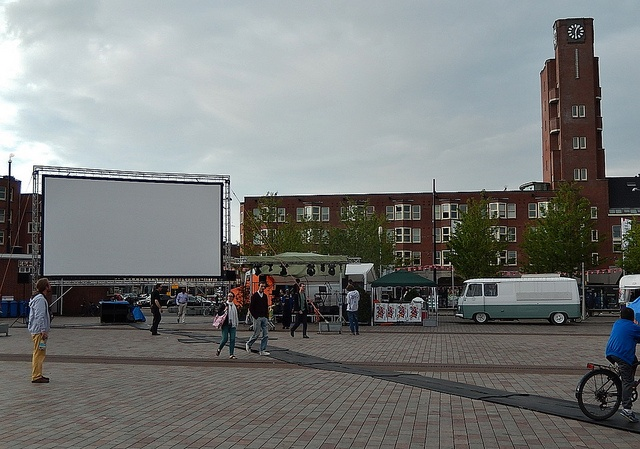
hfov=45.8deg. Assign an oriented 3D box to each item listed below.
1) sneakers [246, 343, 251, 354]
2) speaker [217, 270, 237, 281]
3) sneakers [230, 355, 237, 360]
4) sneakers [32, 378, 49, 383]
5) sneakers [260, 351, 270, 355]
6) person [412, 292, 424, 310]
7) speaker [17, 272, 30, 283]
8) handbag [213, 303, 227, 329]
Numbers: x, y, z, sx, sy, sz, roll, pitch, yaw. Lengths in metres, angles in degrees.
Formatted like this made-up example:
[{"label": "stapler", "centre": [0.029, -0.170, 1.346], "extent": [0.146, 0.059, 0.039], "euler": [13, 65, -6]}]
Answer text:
[{"label": "sneakers", "centre": [-2.394, 4.086, 25.170], "extent": [0.170, 0.382, 0.137], "euler": [-1, 20, 8]}, {"label": "speaker", "centre": [-4.913, 2.883, 40.867], "extent": [1.054, 0.720, 0.571], "euler": [-3, -12, 24]}, {"label": "sneakers", "centre": [-2.767, 4.129, 23.851], "extent": [0.254, 0.104, 0.091], "euler": [-5, -4, 42]}, {"label": "sneakers", "centre": [-7.135, 3.909, 19.293], "extent": [0.354, 0.141, 0.149], "euler": [0, -3, -5]}, {"label": "sneakers", "centre": [-1.765, 4.103, 24.385], "extent": [0.333, 0.137, 0.110], "euler": [0, 3, -7]}, {"label": "person", "centre": [5.187, 3.859, 38.813], "extent": [0.838, 0.921, 1.062], "euler": [-1, -7, -5]}, {"label": "speaker", "centre": [-14.532, 2.554, 37.083], "extent": [0.549, 0.479, 1.393], "euler": [2, -6, -22]}, {"label": "handbag", "centre": [-3.244, 2.904, 24.464], "extent": [0.382, 0.786, 0.525], "euler": [3, -7, -32]}]
